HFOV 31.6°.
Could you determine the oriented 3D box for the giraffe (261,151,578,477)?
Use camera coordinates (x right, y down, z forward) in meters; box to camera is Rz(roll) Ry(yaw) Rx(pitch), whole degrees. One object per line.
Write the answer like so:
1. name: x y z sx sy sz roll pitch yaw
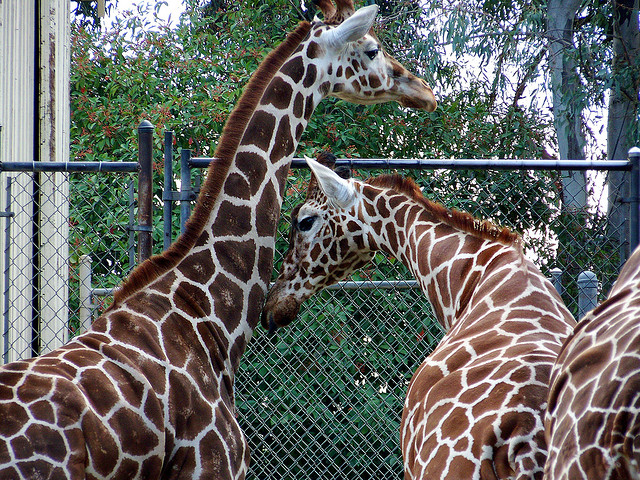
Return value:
1. giraffe: 0.748 0.547 7.406 0.947 1.734 2.175 -6 18 -42
